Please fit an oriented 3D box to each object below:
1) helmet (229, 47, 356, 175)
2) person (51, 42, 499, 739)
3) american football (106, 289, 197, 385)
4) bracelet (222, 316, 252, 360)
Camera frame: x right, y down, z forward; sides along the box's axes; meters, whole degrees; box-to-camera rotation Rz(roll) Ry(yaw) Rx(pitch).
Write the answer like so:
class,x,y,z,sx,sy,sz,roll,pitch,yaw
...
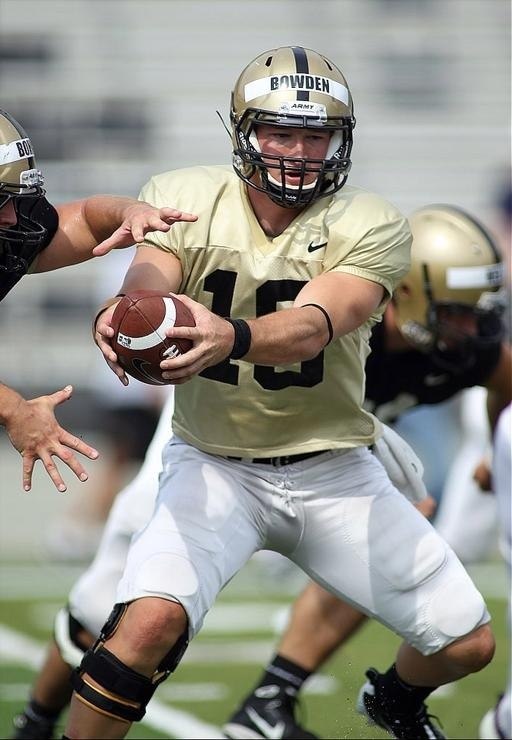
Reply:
class,x,y,z,sx,sy,sz,roll,pitch,yaw
helmet,0.088,-0.593,1.807,0.288,0.268,0.336,0,32,-7
person,-0.016,0.172,1.755,0.873,1.632,0.856,-8,27,-10
american football,-0.183,-0.063,1.424,0.144,0.136,0.177,-23,38,-29
bracelet,-0.029,-0.059,1.349,0.033,0.062,0.046,6,52,-18
